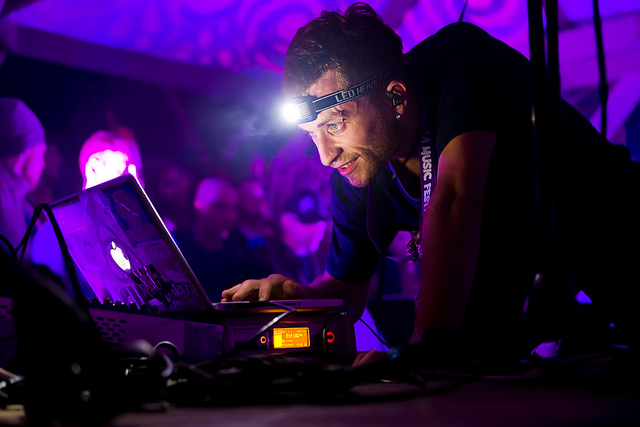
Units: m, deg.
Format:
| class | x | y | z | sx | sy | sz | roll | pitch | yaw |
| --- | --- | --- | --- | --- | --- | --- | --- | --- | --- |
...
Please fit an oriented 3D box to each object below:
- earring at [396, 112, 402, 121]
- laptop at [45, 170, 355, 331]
| class | x | y | z | sx | sy | sz | roll | pitch | yaw |
| --- | --- | --- | --- | --- | --- | --- | --- | --- | --- |
| earring | 0.284 | -0.352 | 2.054 | 0.015 | 0.021 | 0.007 | -2 | 17 | 32 |
| laptop | -0.370 | 0.146 | 1.594 | 0.560 | 0.336 | 0.567 | -1 | -6 | -33 |
